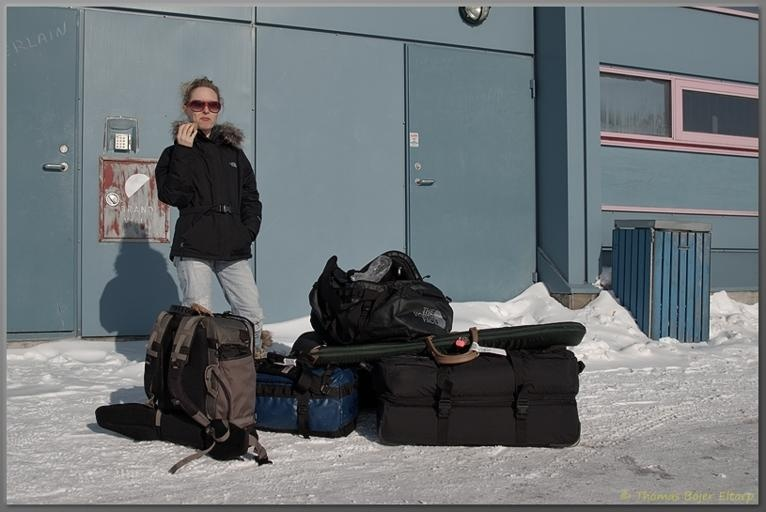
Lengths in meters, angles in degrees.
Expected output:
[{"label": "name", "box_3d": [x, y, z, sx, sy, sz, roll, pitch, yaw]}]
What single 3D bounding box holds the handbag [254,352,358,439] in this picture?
[{"label": "handbag", "box_3d": [-0.654, 1.188, 7.860, 0.868, 0.601, 0.599, 1, -2, 10]}]
